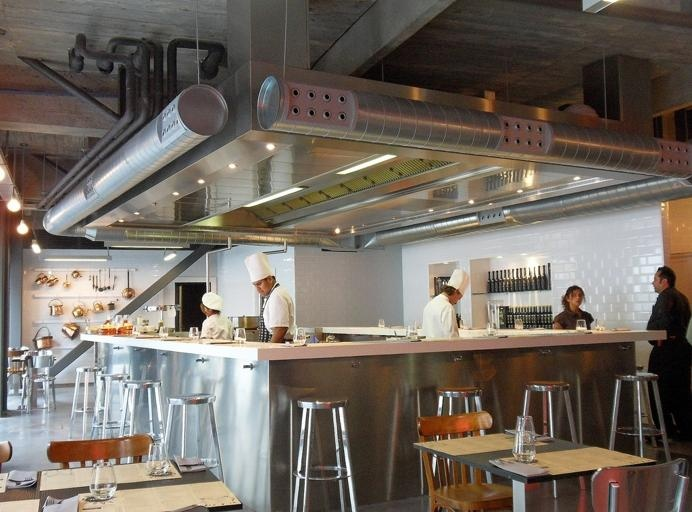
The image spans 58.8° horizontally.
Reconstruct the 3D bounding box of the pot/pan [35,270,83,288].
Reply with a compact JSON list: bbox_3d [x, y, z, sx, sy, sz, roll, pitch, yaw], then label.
[{"bbox_3d":[-6.323,0.489,13.412,0.623,0.277,0.441,4,-8,-42],"label":"pot/pan"}]

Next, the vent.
[{"bbox_3d":[-0.153,-0.794,7.440,0.342,0.239,4.031,3,-7,-31],"label":"vent"}]

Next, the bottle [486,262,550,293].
[{"bbox_3d":[2.641,0.348,9.480,0.262,0.412,1.408,2,-6,-23],"label":"bottle"}]

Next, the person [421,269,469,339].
[{"bbox_3d":[1.060,0.508,6.741,0.501,0.745,0.539,-2,-5,17],"label":"person"}]

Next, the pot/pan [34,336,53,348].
[{"bbox_3d":[-6.531,1.843,13.167,0.355,0.291,0.377,1,-6,-7],"label":"pot/pan"}]

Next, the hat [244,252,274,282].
[{"bbox_3d":[-0.902,0.115,6.376,0.274,0.267,0.317,-18,1,30],"label":"hat"}]

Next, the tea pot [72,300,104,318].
[{"bbox_3d":[-5.707,1.180,13.567,0.538,0.274,0.322,-15,-8,-18],"label":"tea pot"}]

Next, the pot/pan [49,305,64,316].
[{"bbox_3d":[-6.282,1.162,13.340,0.242,0.174,0.242,1,-3,13],"label":"pot/pan"}]

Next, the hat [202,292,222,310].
[{"bbox_3d":[-1.749,0.575,7.965,0.205,0.114,0.269,9,9,-41],"label":"hat"}]

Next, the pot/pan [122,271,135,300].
[{"bbox_3d":[-4.899,0.638,13.888,0.275,0.664,0.139,2,-5,-20],"label":"pot/pan"}]

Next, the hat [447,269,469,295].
[{"bbox_3d":[1.268,0.272,7.040,0.247,0.249,0.272,25,1,16],"label":"hat"}]

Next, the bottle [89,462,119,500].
[{"bbox_3d":[-1.248,1.190,3.250,0.149,0.191,0.200,2,-11,-14],"label":"bottle"}]
